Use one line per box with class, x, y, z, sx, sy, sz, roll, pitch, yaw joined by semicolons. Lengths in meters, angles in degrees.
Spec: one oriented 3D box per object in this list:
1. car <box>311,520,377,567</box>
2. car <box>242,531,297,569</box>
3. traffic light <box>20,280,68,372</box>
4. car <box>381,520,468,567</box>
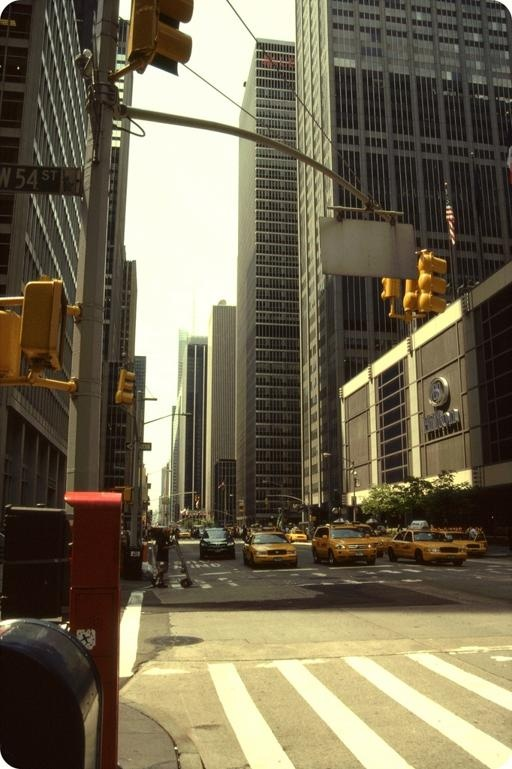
car;3.741;7.022;26.730;1.390;1.486;2.921;2;-21;-9
car;0.638;7.305;26.469;2.101;1.538;2.876;-4;-12;-1
traffic light;-1.468;-0.443;4.141;0.286;0.716;0.366;1;-11;-21
car;7.728;7.424;27.368;1.994;1.611;3.925;-2;-12;-10
